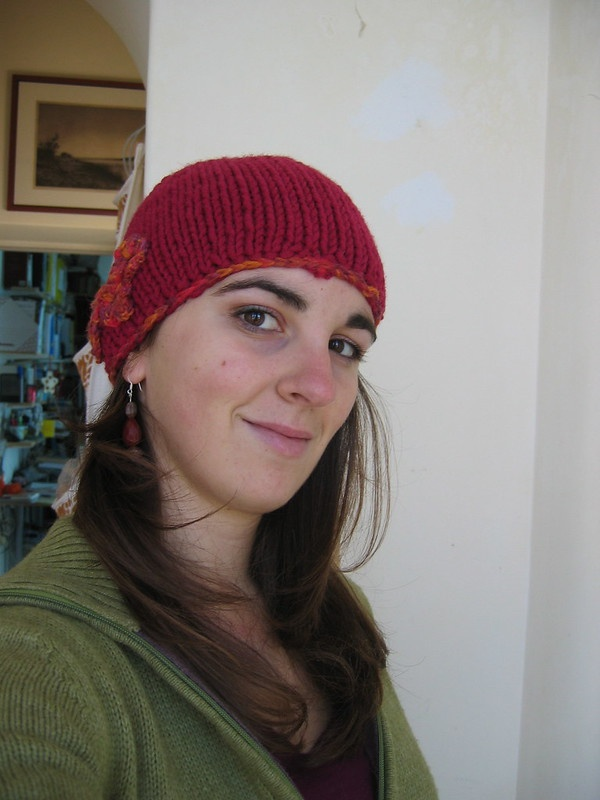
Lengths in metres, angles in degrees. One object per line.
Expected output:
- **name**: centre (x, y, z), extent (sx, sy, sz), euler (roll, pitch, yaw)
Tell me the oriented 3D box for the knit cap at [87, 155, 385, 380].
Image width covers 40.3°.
- **knit cap**: centre (-0.134, -0.244, 1.509), extent (0.455, 0.286, 0.410), euler (-13, -21, 41)
